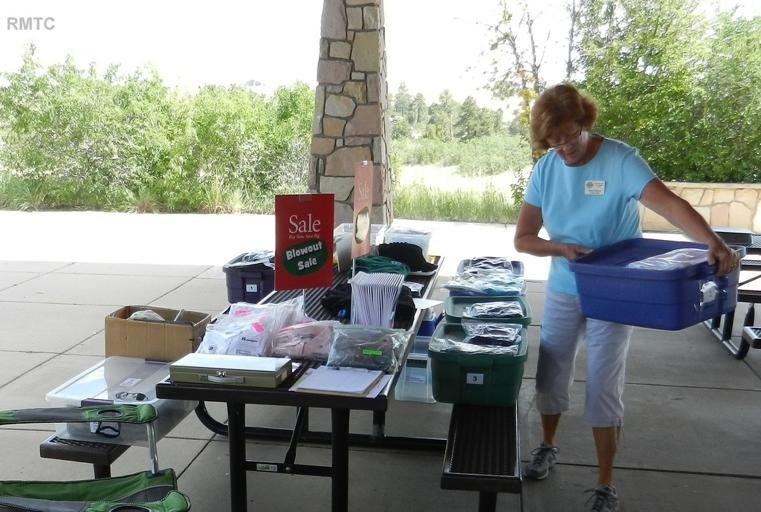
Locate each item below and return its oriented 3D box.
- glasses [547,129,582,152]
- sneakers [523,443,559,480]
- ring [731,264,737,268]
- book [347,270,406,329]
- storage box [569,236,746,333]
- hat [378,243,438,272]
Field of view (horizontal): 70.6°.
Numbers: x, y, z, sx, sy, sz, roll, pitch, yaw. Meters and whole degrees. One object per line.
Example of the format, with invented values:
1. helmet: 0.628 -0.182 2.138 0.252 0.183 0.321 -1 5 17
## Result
1. glasses: 0.980 -0.622 2.859 0.126 0.036 0.128 -7 -25 11
2. sneakers: 1.038 1.324 3.472 0.134 0.129 0.324 15 -3 32
3. ring: 1.803 0.045 2.732 0.024 0.010 0.032 -6 7 6
4. book: -0.030 0.245 3.114 0.250 0.306 0.108 4 8 5
5. storage box: 1.465 0.123 2.872 0.776 0.409 0.517 -7 12 -32
6. hat: 0.198 -0.014 4.169 0.541 0.205 0.175 7 26 9
